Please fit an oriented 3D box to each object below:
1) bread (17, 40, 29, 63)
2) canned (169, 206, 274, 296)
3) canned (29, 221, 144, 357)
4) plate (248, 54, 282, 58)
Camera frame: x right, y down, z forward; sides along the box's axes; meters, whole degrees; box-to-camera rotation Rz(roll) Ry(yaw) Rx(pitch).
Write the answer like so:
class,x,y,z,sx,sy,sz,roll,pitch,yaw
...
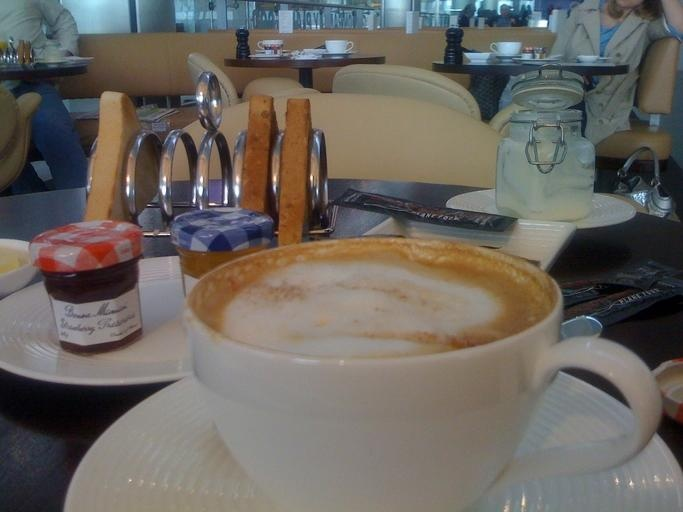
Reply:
class,x,y,z,sx,sy,sz,roll,pitch,yaw
bread,-1.970,-1.269,3.294,0.079,0.119,0.246,-11,28,-24
canned,-0.124,-0.017,0.577,0.087,0.088,0.090,22,33,38
canned,-0.223,0.025,0.524,0.097,0.114,0.096,17,26,37
plate,-0.564,-1.488,3.955,0.135,0.035,0.138,3,25,3
